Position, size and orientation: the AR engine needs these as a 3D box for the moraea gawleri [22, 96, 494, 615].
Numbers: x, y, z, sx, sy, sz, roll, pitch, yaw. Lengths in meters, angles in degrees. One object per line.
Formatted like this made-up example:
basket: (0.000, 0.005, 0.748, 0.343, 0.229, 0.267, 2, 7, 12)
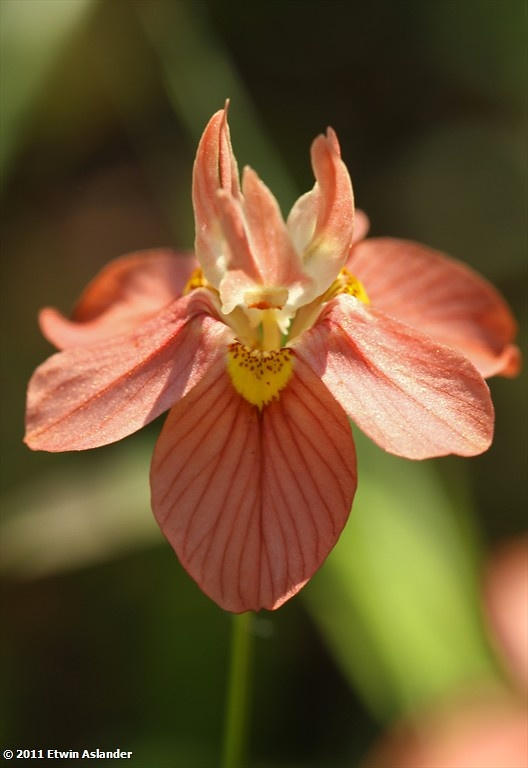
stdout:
moraea gawleri: (0.036, -0.027, 0.814, 0.508, 0.527, 0.258, 4, 30, 10)
